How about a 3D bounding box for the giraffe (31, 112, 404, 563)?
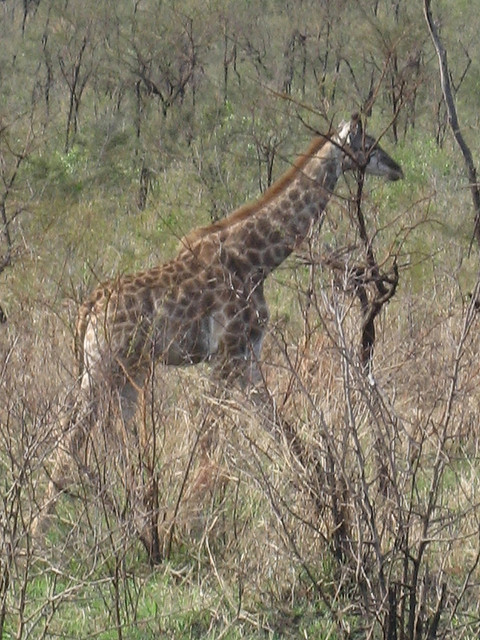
[{"bbox_3d":[-0.213,-0.081,7.632,1.741,2.458,3.068,2,10,18],"label":"giraffe"}]
